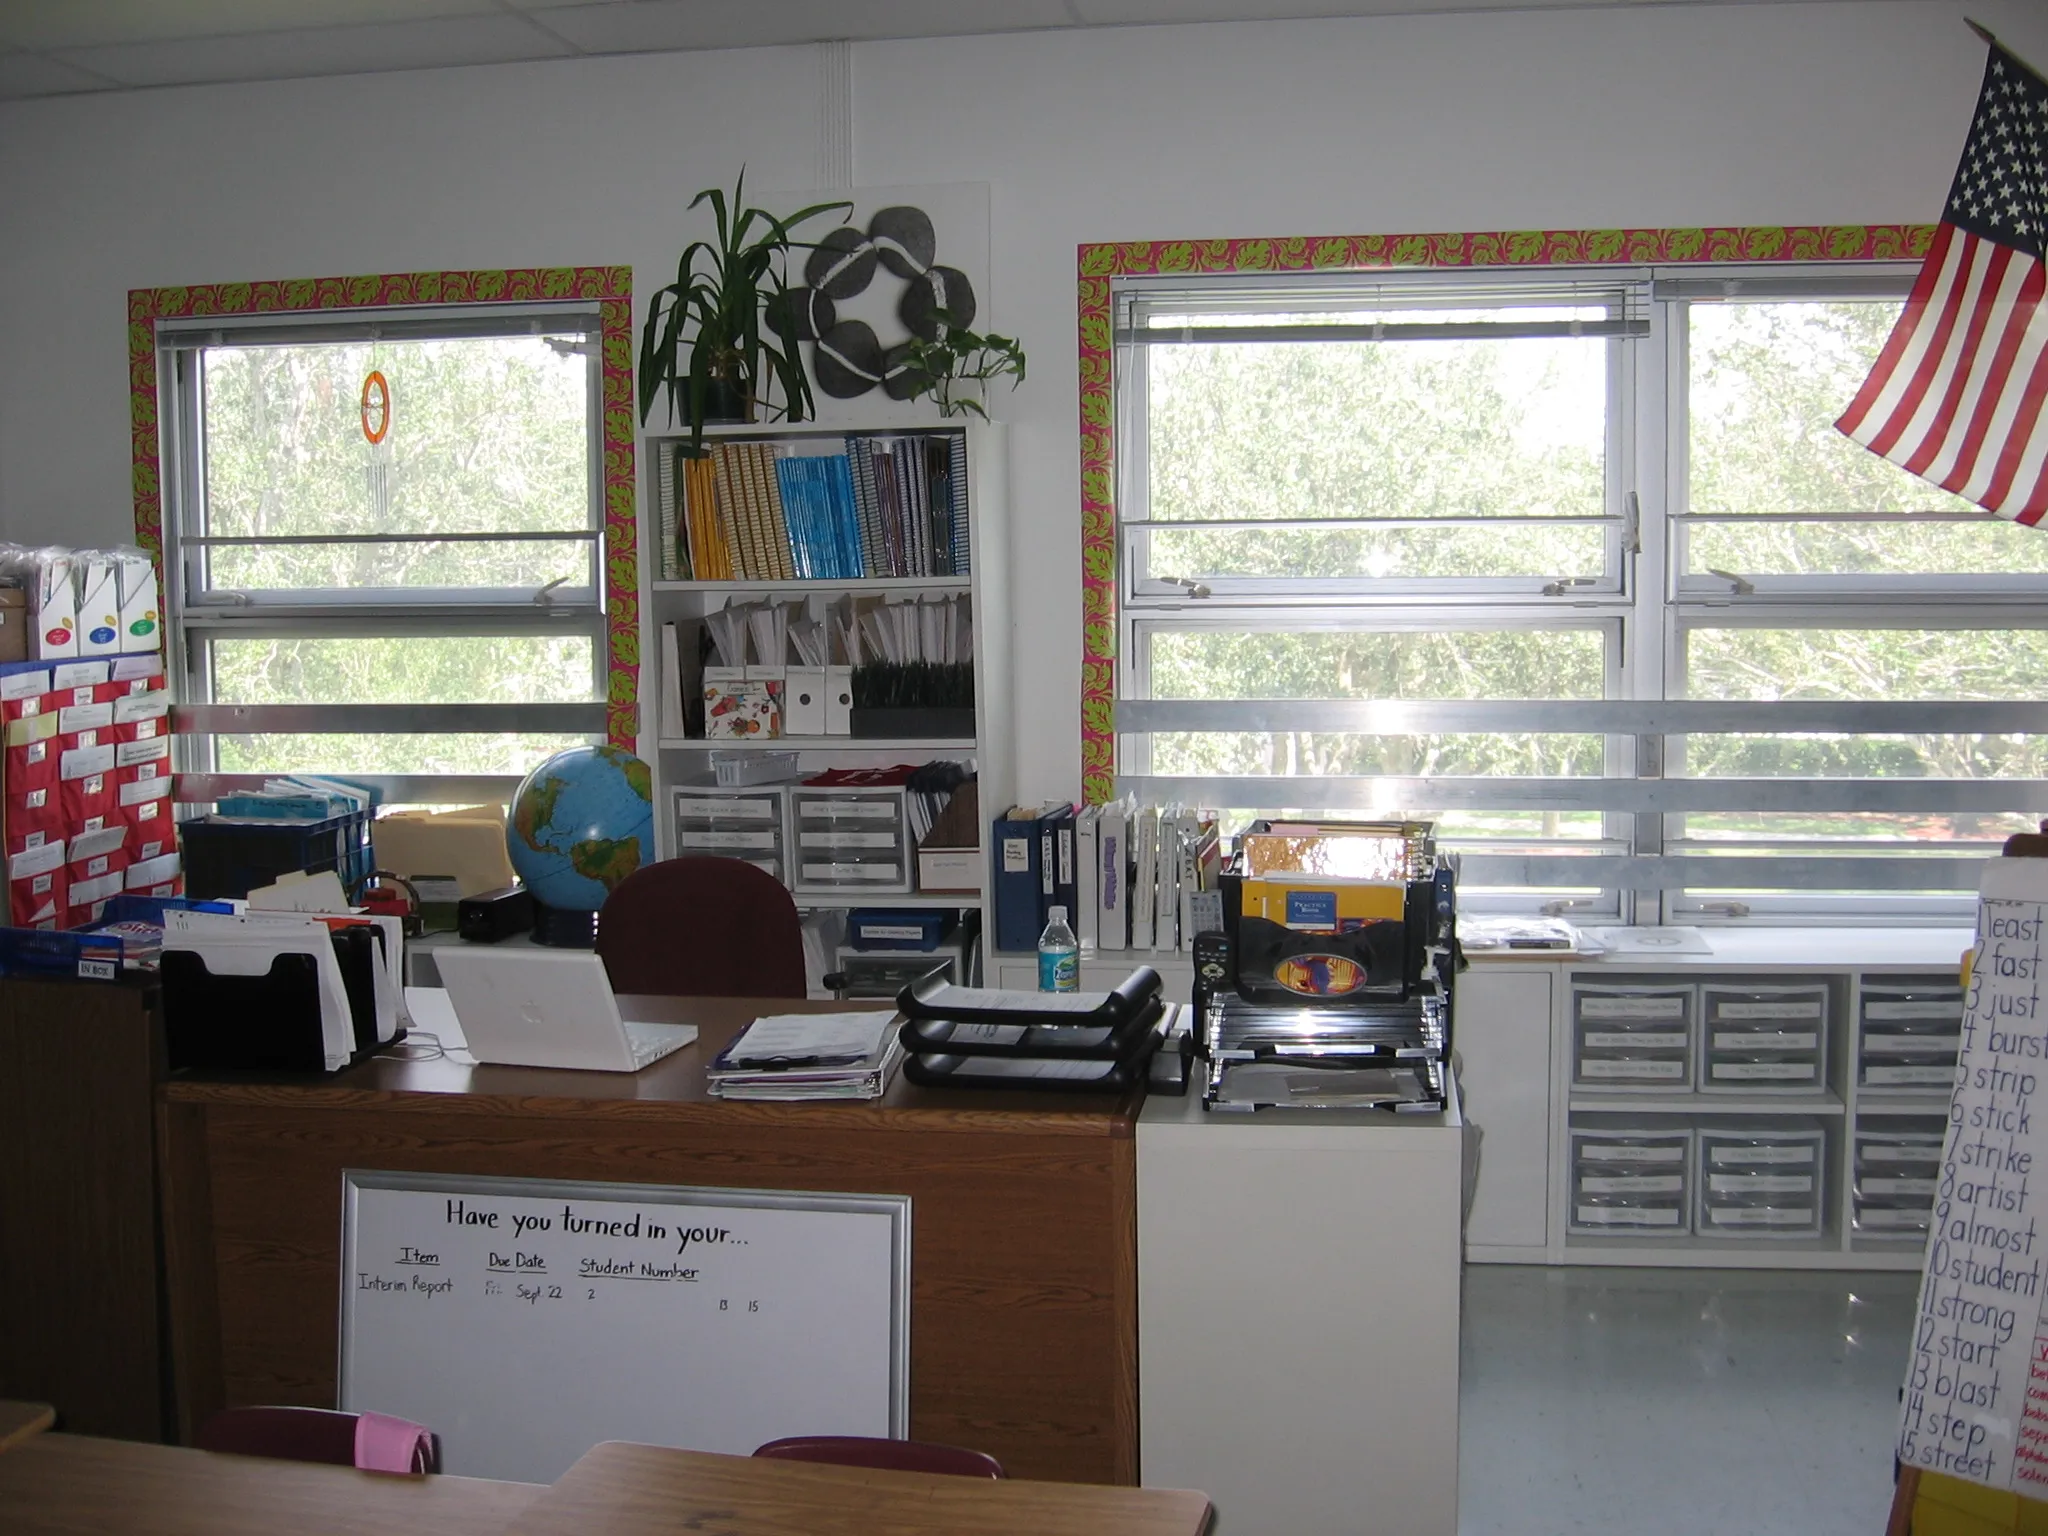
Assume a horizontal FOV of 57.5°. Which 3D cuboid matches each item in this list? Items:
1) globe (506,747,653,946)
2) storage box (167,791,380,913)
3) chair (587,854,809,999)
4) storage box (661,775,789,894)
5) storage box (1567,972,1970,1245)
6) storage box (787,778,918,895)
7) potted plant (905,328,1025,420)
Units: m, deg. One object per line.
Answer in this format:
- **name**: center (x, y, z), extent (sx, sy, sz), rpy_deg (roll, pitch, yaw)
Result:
- **globe**: center (-1.317, 0.205, 5.758), extent (0.549, 0.653, 0.546), rpy_deg (-1, 7, -15)
- **storage box**: center (-2.309, 0.121, 5.788), extent (0.333, 0.402, 0.582), rpy_deg (3, 6, 13)
- **chair**: center (-0.805, 0.406, 5.099), extent (0.445, 0.407, 0.591), rpy_deg (-2, 9, 12)
- **storage box**: center (-0.935, 0.279, 5.650), extent (0.396, 0.355, 0.288), rpy_deg (5, -29, -39)
- **storage box**: center (2.134, 0.959, 5.300), extent (0.940, 0.560, 0.306), rpy_deg (0, 2, 2)
- **storage box**: center (-0.514, 0.204, 5.546), extent (0.336, 0.314, 0.326), rpy_deg (0, -1, 5)
- **potted plant**: center (-0.178, -1.191, 5.616), extent (0.338, 0.301, 0.329), rpy_deg (1, 5, 7)
